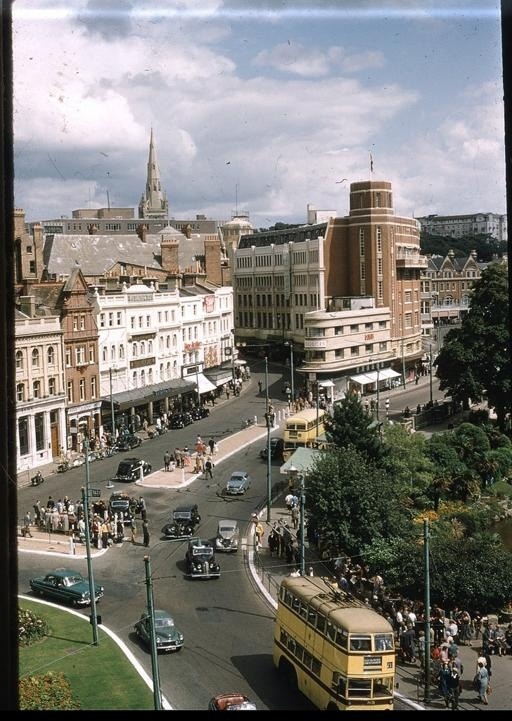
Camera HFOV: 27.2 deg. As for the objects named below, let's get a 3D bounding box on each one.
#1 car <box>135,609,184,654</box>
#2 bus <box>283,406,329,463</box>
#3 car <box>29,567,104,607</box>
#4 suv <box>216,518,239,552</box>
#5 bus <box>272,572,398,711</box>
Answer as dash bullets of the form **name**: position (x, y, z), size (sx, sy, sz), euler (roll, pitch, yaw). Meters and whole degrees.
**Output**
- **car**: position (-3.294, 9.212, 36.037), size (1.683, 1.742, 1.387), euler (-1, -6, -23)
- **bus**: position (2.892, 4.397, 62.774), size (2.391, 2.980, 6.883), euler (-1, 0, 2)
- **car**: position (-7.119, 8.562, 40.098), size (2.236, 0.831, 1.273), euler (4, 5, 31)
- **suv**: position (-1.234, 7.956, 47.815), size (1.017, 0.965, 1.951), euler (0, -5, -3)
- **bus**: position (2.229, 8.615, 31.717), size (1.926, 3.145, 5.996), euler (2, 1, -20)
